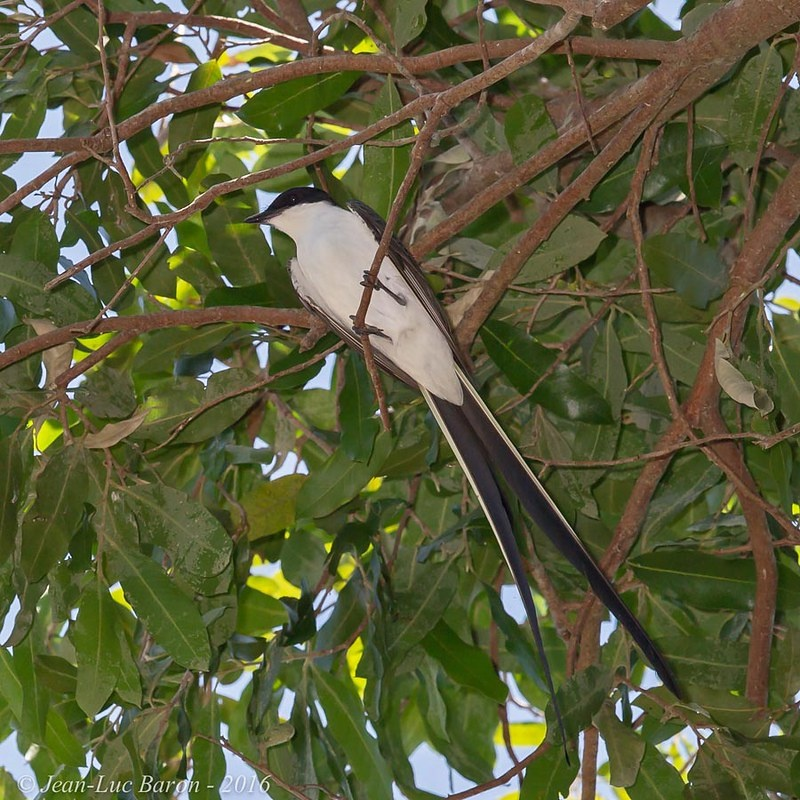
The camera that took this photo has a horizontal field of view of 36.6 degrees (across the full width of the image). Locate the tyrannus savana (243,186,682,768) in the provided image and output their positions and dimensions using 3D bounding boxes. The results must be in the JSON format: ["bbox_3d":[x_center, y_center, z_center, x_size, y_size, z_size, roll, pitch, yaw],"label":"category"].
[{"bbox_3d":[0.206,0.196,3.549,2.018,0.498,0.510,48,-12,11],"label":"tyrannus savana"}]
